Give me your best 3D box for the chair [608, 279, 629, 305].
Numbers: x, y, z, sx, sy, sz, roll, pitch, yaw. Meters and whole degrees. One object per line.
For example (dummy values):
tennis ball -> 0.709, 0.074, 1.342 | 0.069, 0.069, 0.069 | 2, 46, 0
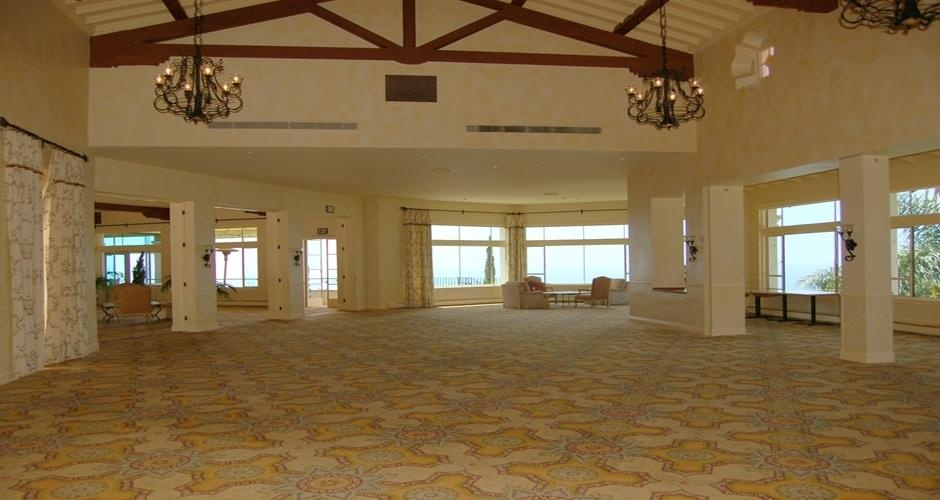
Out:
chair -> 5.514, 1.559, 20.991 | 0.993, 0.800, 0.895 | 1, -6, -11

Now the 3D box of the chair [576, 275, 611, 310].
chair -> 4.240, 1.473, 20.157 | 1.288, 1.386, 1.153 | 0, 1, 21

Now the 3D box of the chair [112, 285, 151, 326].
chair -> -10.372, 1.581, 17.610 | 1.300, 1.378, 1.226 | -1, 11, -21

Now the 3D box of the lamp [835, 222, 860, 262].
lamp -> 7.269, -0.134, 10.993 | 0.236, 0.704, 0.418 | 0, 11, 5

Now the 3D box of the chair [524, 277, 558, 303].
chair -> 2.572, 1.488, 20.844 | 0.457, 0.459, 1.025 | 19, 3, 38

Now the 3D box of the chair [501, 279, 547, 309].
chair -> 1.995, 1.580, 20.017 | 1.200, 0.761, 1.132 | -1, 3, -32
